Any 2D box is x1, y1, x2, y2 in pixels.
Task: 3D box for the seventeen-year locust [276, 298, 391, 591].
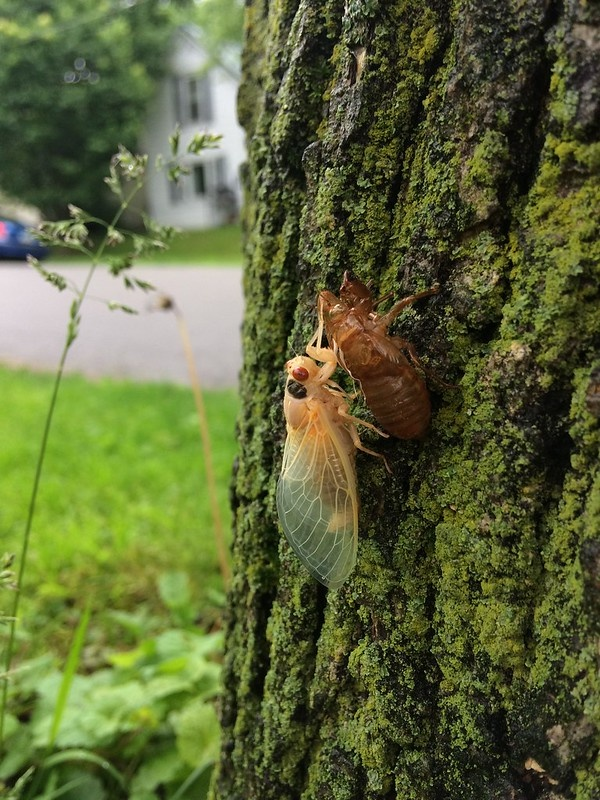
[{"bbox_3d":[0.082,0.147,2.674,0.245,0.739,0.490,-1,4,-37],"label":"seventeen-year locust"}]
